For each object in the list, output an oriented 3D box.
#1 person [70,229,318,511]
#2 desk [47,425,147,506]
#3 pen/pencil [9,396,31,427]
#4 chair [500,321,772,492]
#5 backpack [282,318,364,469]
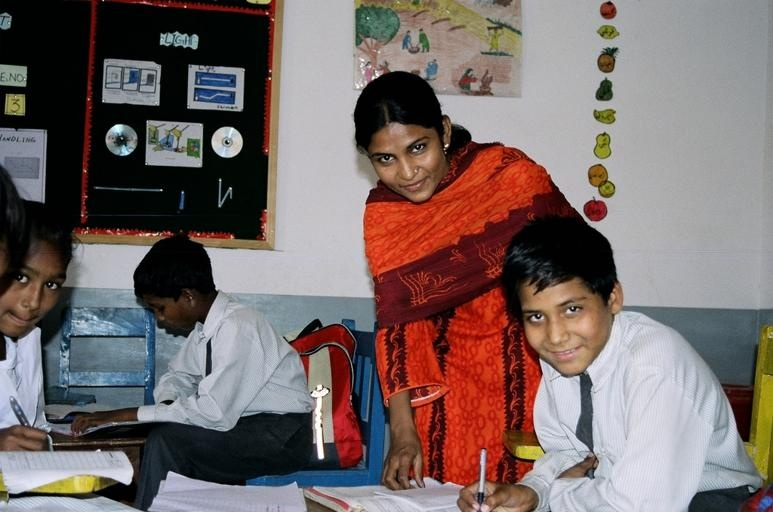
[{"bbox_3d":[-0.676,0.396,2.819,0.749,0.993,0.603,2,0,10],"label":"person"},{"bbox_3d":[-0.992,0.664,2.615,0.342,0.329,0.343,2,-6,-27],"label":"desk"},{"bbox_3d":[-1.183,0.499,2.423,0.030,0.112,0.028,-37,19,-25],"label":"pen/pencil"},{"bbox_3d":[0.692,0.433,2.167,0.561,0.426,0.470,-4,-5,-19],"label":"chair"},{"bbox_3d":[-0.253,0.570,2.999,0.413,0.617,0.335,1,-26,-7],"label":"backpack"}]
